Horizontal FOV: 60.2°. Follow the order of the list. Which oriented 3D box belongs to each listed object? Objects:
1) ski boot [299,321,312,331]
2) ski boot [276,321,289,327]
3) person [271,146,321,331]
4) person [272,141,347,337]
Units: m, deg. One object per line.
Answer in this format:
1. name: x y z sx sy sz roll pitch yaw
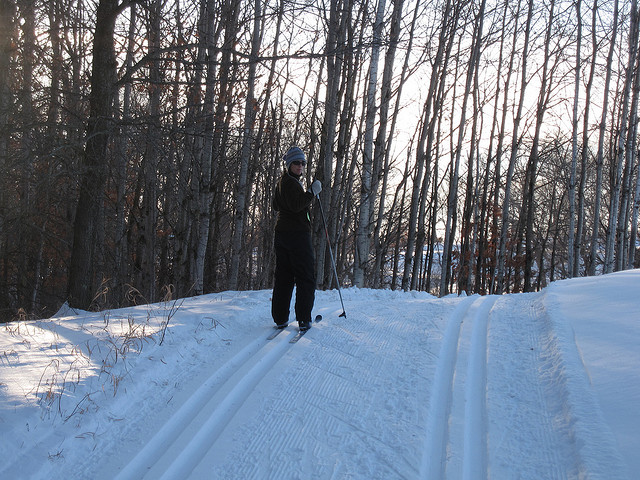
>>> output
1. ski boot: -0.207 1.203 7.734 0.154 0.184 0.086 -6 11 -21
2. ski boot: -0.508 1.207 7.869 0.129 0.075 0.279 2 -2 33
3. person: -0.367 -0.022 7.861 0.617 2.570 0.376 2 0 0
4. person: -0.358 0.000 7.808 0.640 2.697 0.543 2 0 -1
